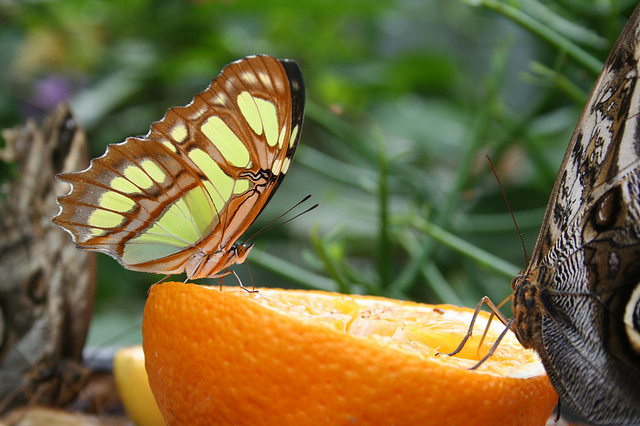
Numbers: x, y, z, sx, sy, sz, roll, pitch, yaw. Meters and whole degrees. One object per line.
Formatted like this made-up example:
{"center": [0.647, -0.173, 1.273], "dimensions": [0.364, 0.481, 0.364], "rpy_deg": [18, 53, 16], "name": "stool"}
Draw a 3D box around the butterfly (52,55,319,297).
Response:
{"center": [-0.204, -0.050, 1.126], "dimensions": [0.359, 0.329, 0.416], "rpy_deg": [-5, -6, 2], "name": "butterfly"}
